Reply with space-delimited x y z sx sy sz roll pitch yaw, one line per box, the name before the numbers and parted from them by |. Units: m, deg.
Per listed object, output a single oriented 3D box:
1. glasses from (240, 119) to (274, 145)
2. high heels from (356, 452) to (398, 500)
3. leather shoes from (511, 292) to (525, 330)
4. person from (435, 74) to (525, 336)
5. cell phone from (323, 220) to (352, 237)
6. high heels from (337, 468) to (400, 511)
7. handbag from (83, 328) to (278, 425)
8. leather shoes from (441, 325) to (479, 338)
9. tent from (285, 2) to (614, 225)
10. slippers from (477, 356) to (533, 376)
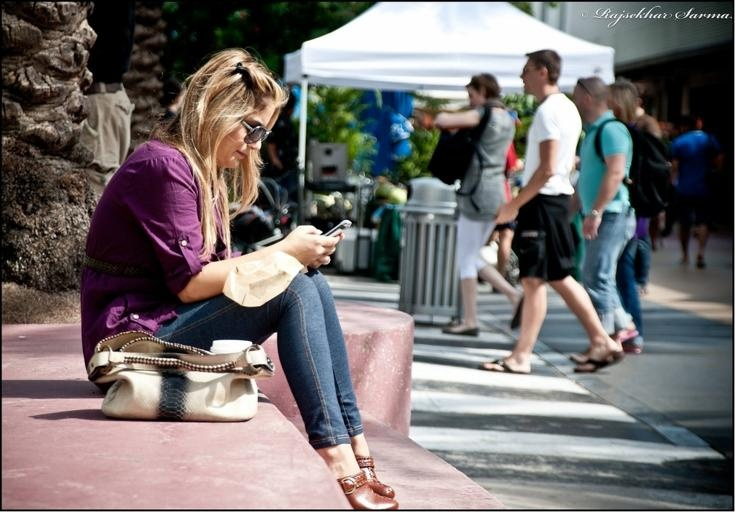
glasses | -0.527 -0.576 3.877 0.108 0.042 0.104 45 17 25
high heels | 0.020 0.976 3.759 0.095 0.138 0.318 -14 16 -31
leather shoes | 1.296 0.484 7.118 0.092 0.341 0.123 16 -9 -20
person | 0.986 -0.472 7.746 0.949 2.433 0.801 2 3 10
cell phone | -0.152 -0.130 3.892 0.132 0.036 0.074 -27 -8 24
high heels | 0.042 1.033 3.631 0.321 0.129 0.119 11 9 13
handbag | -0.807 0.532 3.581 0.614 0.230 0.433 1 7 -3
leather shoes | 0.880 0.699 7.852 0.330 0.095 0.120 8 -1 4
tent | 0.622 -1.822 9.744 2.030 1.719 2.119 0 8 -10
slippers | 1.065 0.827 6.534 0.368 0.125 0.151 6 -3 12
